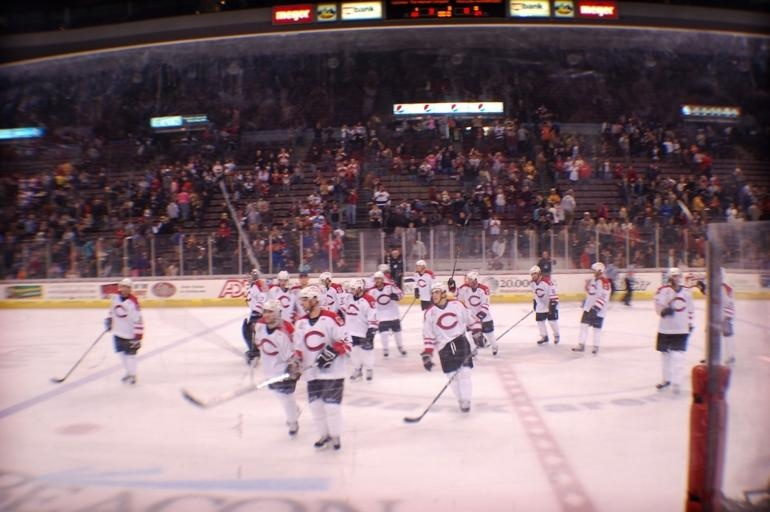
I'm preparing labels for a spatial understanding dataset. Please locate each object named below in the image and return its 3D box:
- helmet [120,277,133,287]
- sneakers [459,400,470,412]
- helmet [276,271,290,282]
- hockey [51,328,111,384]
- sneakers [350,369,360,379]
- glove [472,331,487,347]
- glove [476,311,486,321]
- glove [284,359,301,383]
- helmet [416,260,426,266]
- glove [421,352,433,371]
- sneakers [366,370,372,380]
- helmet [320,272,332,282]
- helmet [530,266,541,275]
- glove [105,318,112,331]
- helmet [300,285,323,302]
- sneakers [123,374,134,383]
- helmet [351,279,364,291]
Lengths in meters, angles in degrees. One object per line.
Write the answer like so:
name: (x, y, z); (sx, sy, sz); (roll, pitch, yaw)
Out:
helmet: (-7.679, 0.781, 23.719); (0.456, 0.252, 0.304); (2, 0, 22)
sneakers: (2.217, 4.199, 22.148); (0.313, 0.240, 0.285); (-4, -5, 3)
helmet: (-3.131, 0.638, 24.763); (0.351, 0.191, 0.405); (0, -5, -12)
hockey: (-9.760, 3.297, 25.692); (2.223, 0.402, 0.320); (-43, 7, -7)
sneakers: (-0.873, 3.536, 23.842); (0.322, 0.270, 0.197); (-3, 6, -2)
glove: (2.665, 2.366, 22.687); (0.373, 0.459, 0.371); (-4, 6, -12)
glove: (2.968, 1.846, 24.501); (0.261, 0.364, 0.609); (-2, 5, 9)
glove: (-2.420, 3.045, 21.215); (0.474, 0.523, 0.251); (0, -6, 2)
helmet: (1.178, 0.227, 26.132); (0.256, 0.181, 0.396); (-3, 5, -7)
glove: (1.185, 2.950, 22.268); (0.265, 0.577, 0.355); (-3, 6, 3)
sneakers: (-0.460, 3.535, 23.787); (0.207, 0.332, 0.269); (-3, 5, -1)
helmet: (-1.877, 0.651, 24.766); (0.412, 0.318, 0.286); (6, 9, 3)
helmet: (4.791, 0.446, 25.444); (0.281, 0.270, 0.333); (-3, -24, 12)
glove: (-8.197, 2.029, 23.765); (0.160, 0.366, 0.201); (-6, 6, -22)
helmet: (-1.995, 1.014, 21.500); (0.528, 0.404, 0.391); (13, -13, -25)
sneakers: (-7.661, 3.686, 23.888); (0.473, 0.240, 0.119); (-1, 6, 21)
helmet: (-0.818, 0.853, 23.870); (0.388, 0.260, 0.286); (-9, -35, -1)
